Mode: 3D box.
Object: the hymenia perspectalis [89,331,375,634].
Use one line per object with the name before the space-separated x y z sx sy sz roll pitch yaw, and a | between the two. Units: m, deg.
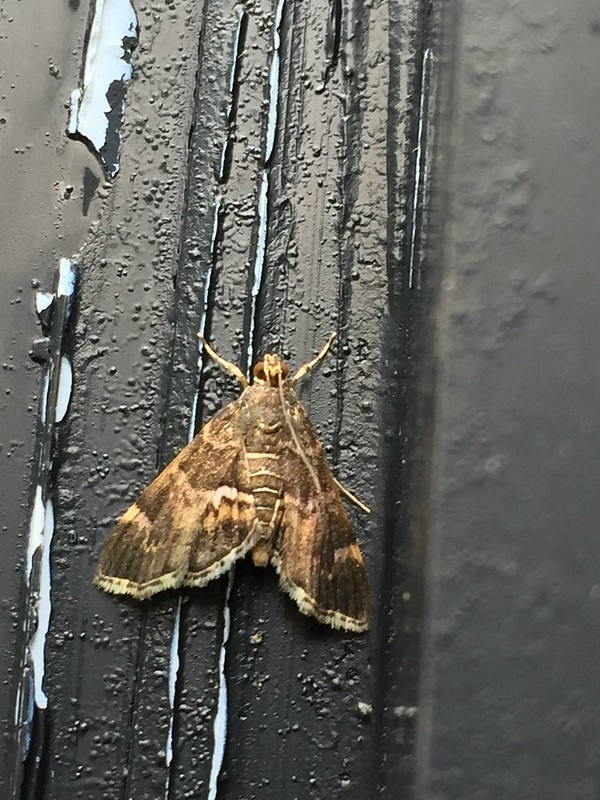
hymenia perspectalis | -0.110 0.137 1.616 0.340 0.103 0.400 5 84 -1
